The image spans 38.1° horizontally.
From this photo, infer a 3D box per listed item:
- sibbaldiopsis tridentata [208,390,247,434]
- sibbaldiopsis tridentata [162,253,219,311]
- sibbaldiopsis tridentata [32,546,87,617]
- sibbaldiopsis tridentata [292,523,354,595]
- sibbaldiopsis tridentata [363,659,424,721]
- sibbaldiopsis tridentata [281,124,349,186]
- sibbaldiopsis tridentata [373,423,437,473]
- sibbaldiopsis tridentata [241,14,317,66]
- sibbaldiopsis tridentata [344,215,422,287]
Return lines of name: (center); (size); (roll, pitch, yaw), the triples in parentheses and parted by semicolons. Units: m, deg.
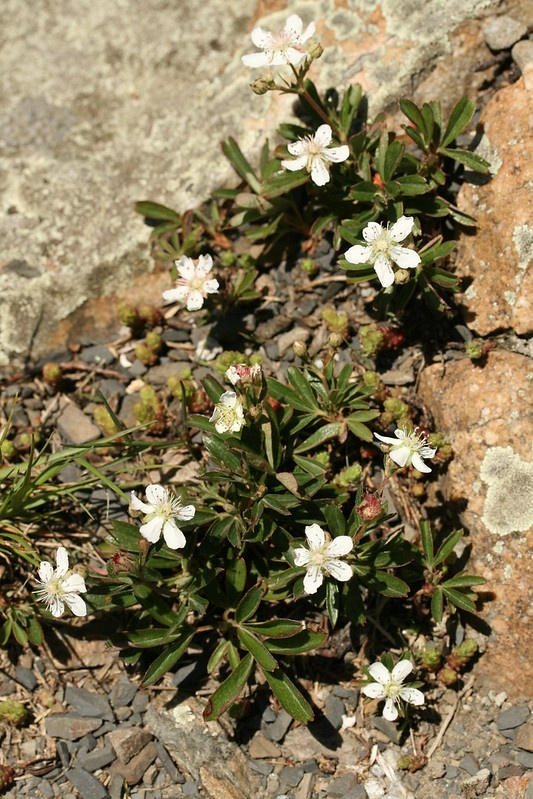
sibbaldiopsis tridentata: (-0.193, 0.061, 4.017); (0.197, 0.094, 0.205); (8, 92, -4)
sibbaldiopsis tridentata: (-0.406, -0.681, 4.650); (0.343, 0.148, 0.348); (23, 104, 17)
sibbaldiopsis tridentata: (-1.052, 0.963, 4.033); (0.238, 0.214, 0.332); (-13, 56, 9)
sibbaldiopsis tridentata: (0.291, 0.816, 3.869); (0.270, 0.249, 0.305); (18, 66, 25)
sibbaldiopsis tridentata: (0.677, 1.511, 4.066); (0.300, 0.077, 0.337); (5, 21, 28)
sibbaldiopsis tridentata: (0.297, -1.393, 4.388); (0.300, 0.263, 0.295); (21, 67, 26)
sibbaldiopsis tridentata: (0.716, 0.295, 4.150); (0.325, 0.108, 0.286); (-7, 69, -31)
sibbaldiopsis tridentata: (0.087, -2.033, 4.400); (0.339, 0.190, 0.401); (18, 65, 25)
sibbaldiopsis tridentata: (0.644, -0.835, 4.277); (0.364, 0.423, 0.117); (-1, 16, 14)
